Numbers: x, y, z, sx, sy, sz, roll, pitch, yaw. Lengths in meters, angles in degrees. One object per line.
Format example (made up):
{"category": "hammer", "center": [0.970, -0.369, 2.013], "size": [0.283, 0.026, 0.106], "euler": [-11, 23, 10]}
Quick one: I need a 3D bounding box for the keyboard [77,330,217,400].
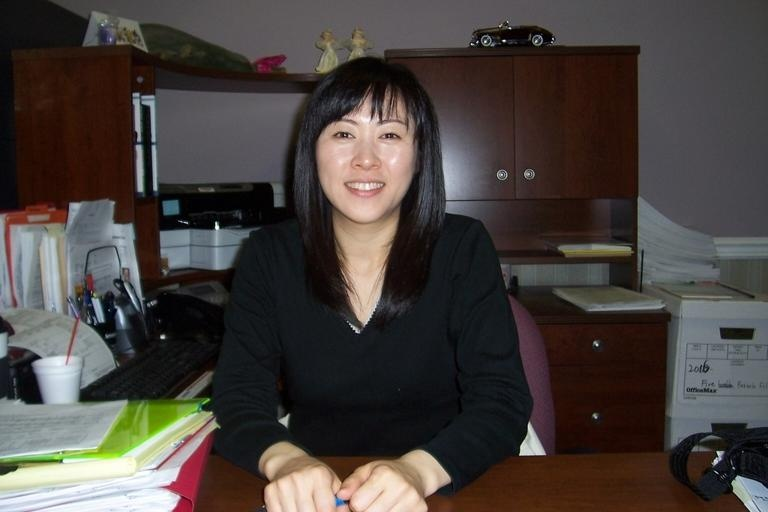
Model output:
{"category": "keyboard", "center": [-0.744, 0.363, 1.886], "size": [0.607, 0.059, 0.258], "euler": [-30, -22, 23]}

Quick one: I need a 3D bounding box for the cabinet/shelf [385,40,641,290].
{"category": "cabinet/shelf", "center": [0.567, -0.439, 2.422], "size": [1.299, 1.272, 0.457], "euler": [0, 5, 4]}

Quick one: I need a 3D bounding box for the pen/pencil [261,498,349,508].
{"category": "pen/pencil", "center": [-0.179, 0.543, 1.258], "size": [0.199, 0.028, 0.020], "euler": [-1, 7, 3]}

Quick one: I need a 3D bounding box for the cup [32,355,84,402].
{"category": "cup", "center": [-0.850, 0.323, 1.571], "size": [0.136, 0.112, 0.126], "euler": [0, 3, 0]}

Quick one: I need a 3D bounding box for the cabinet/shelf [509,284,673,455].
{"category": "cabinet/shelf", "center": [0.814, 0.427, 2.787], "size": [0.880, 0.818, 0.691], "euler": [-1, 1, 4]}
